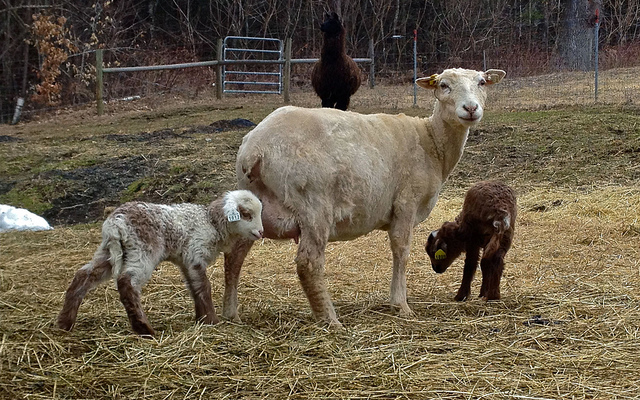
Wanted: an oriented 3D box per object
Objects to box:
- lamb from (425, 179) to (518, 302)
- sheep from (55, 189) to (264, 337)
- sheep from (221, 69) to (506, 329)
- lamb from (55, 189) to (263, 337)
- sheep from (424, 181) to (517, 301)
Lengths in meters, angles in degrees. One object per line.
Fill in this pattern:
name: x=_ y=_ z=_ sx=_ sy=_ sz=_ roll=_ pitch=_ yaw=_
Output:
lamb: x=2.594 y=0.734 z=10.811 sx=1.005 sy=1.666 sz=3.133 roll=4 pitch=-12 yaw=-2
sheep: x=-2.017 y=0.790 z=9.304 sx=2.792 sy=1.809 sz=0.974 roll=3 pitch=-1 yaw=-42
sheep: x=0.631 y=-0.044 z=9.869 sx=4.258 sy=3.396 sz=1.776 roll=-5 pitch=5 yaw=-23
lamb: x=-2.640 y=0.656 z=8.940 sx=3.618 sy=2.304 sz=1.273 roll=1 pitch=2 yaw=-27
sheep: x=1.722 y=0.619 z=10.136 sx=1.172 sy=1.783 sz=2.254 roll=0 pitch=-1 yaw=-14
